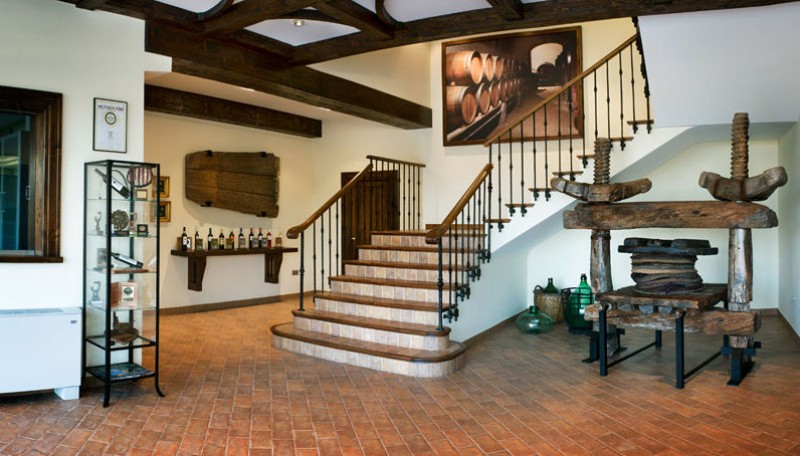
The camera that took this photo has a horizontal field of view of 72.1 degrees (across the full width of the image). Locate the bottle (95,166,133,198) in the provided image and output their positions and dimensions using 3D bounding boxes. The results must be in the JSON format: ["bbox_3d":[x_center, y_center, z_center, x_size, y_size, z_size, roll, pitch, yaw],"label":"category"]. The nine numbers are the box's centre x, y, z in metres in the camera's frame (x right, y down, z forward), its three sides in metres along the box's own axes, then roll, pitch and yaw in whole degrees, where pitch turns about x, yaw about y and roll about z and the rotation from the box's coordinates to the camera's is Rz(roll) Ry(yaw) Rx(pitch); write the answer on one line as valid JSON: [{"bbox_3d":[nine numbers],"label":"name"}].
[{"bbox_3d":[-3.591,-0.574,6.817,0.501,0.368,0.188,5,15,25],"label":"bottle"}]

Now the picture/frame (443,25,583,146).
[{"bbox_3d":[2.190,-2.660,10.211,3.013,1.794,0.108,-3,-1,29],"label":"picture/frame"}]

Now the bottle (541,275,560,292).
[{"bbox_3d":[2.682,0.997,9.913,0.339,0.194,0.306,-1,-2,4],"label":"bottle"}]

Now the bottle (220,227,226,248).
[{"bbox_3d":[-3.432,0.186,10.654,0.125,0.320,0.259,-4,14,-15],"label":"bottle"}]

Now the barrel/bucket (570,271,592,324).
[{"bbox_3d":[3.036,1.188,9.296,0.357,0.779,0.846,4,14,17],"label":"barrel/bucket"}]
